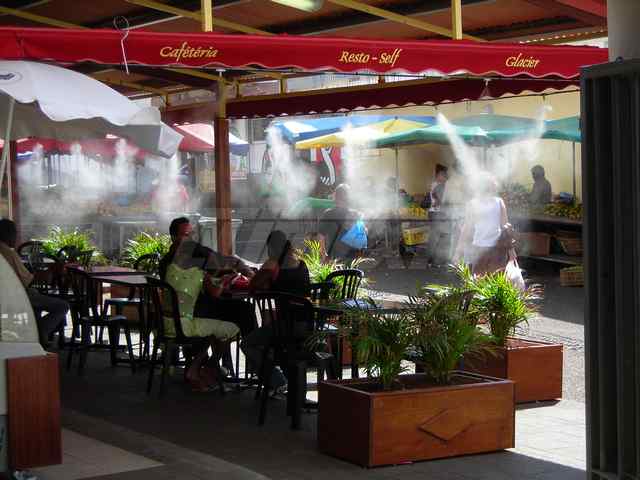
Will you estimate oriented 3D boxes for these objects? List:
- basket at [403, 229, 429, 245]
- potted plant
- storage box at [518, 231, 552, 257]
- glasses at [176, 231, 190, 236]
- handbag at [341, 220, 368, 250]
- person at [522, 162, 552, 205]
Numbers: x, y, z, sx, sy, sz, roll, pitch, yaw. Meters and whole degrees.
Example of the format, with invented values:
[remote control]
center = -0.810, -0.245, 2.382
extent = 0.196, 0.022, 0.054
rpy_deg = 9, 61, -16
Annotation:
[basket]
center = 2.248, -0.089, 13.956
extent = 0.647, 0.390, 0.366
rpy_deg = -1, -1, -32
[potted plant]
center = 0.679, 0.843, 4.515
extent = 1.570, 0.803, 1.405
rpy_deg = -1, 0, -26
[storage box]
center = 4.689, 0.076, 13.100
extent = 0.493, 0.544, 0.884
rpy_deg = -3, 6, -34
[glasses]
center = -1.426, -0.069, 6.220
extent = 0.062, 0.058, 0.061
rpy_deg = 0, -1, 14
[handbag]
center = 0.564, -0.097, 10.149
extent = 0.392, 0.389, 0.235
rpy_deg = 33, -8, -17
[person]
center = 4.832, -1.207, 13.100
extent = 0.473, 0.879, 0.644
rpy_deg = 0, 5, 19
